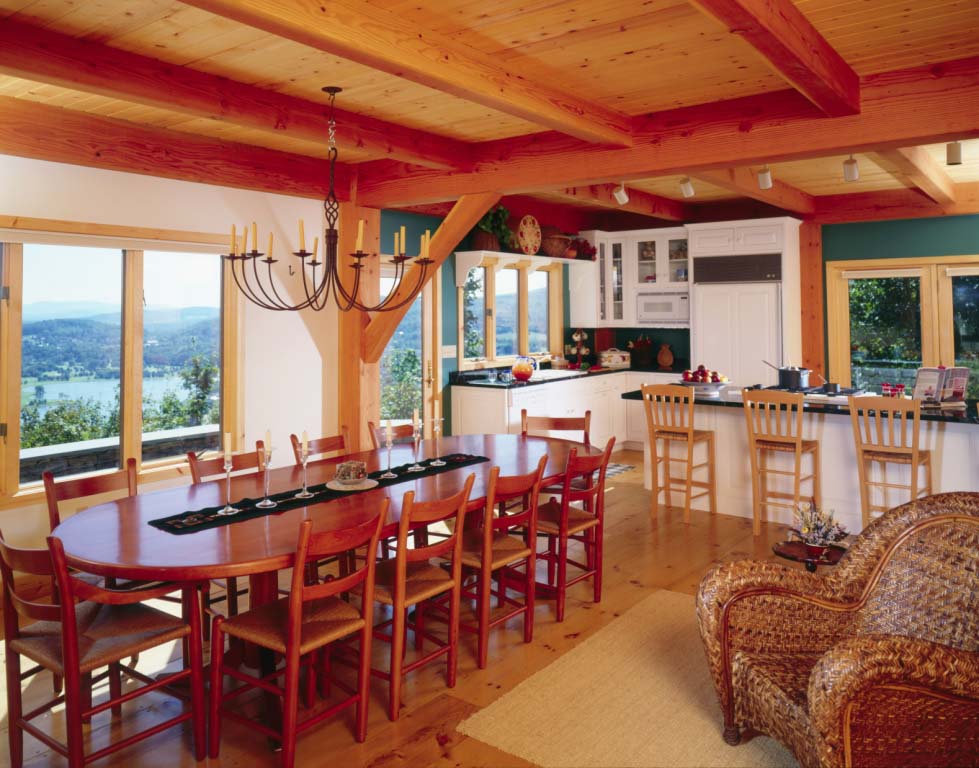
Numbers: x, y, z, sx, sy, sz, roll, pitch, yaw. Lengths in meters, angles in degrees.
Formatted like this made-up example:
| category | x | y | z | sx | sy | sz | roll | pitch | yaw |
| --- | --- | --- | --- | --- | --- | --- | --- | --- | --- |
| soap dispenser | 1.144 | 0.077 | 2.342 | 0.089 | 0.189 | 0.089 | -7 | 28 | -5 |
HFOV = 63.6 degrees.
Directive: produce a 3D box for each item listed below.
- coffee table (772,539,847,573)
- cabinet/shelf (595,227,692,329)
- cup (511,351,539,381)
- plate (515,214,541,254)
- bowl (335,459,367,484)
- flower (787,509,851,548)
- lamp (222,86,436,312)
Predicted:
| category | x | y | z | sx | sy | sz | roll | pitch | yaw |
| --- | --- | --- | --- | --- | --- | --- | --- | --- | --- |
| coffee table | 1.735 | 0.924 | 4.309 | 0.347 | 0.092 | 0.350 | 0 | 3 | 41 |
| cabinet/shelf | 1.947 | -1.209 | 9.204 | 0.597 | 1.092 | 1.393 | -14 | 15 | -42 |
| cup | 0.267 | -0.173 | 8.048 | 0.359 | 0.271 | 0.250 | 2 | -2 | 21 |
| plate | 0.381 | -1.514 | 8.046 | 0.091 | 0.386 | 0.392 | 6 | 13 | 30 |
| bowl | -0.749 | 0.481 | 4.255 | 0.138 | 0.079 | 0.131 | 0 | -3 | 0 |
| flower | 1.876 | 0.788 | 4.421 | 0.342 | 0.145 | 0.249 | 1 | -3 | -26 |
| lamp | -1.132 | -1.127 | 5.757 | 1.466 | 1.147 | 1.210 | -2 | -6 | 8 |
